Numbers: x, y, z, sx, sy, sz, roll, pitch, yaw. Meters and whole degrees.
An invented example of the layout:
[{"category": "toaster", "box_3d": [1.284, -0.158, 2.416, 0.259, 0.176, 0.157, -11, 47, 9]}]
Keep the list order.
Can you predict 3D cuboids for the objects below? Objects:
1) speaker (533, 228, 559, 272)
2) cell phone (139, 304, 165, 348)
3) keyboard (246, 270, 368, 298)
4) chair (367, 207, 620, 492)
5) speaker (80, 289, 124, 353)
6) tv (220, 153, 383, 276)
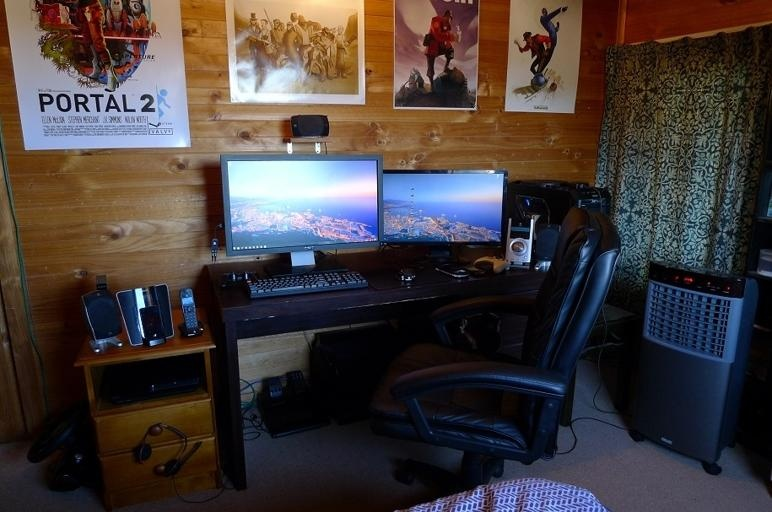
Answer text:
[{"category": "speaker", "box_3d": [0.970, -0.089, 3.251, 0.143, 0.224, 0.129, 5, 6, -6]}, {"category": "cell phone", "box_3d": [-1.195, 0.359, 2.707, 0.101, 0.201, 0.062, -11, 18, -24]}, {"category": "keyboard", "box_3d": [-0.425, 0.156, 2.900, 0.643, 0.082, 0.183, -6, 16, -12]}, {"category": "chair", "box_3d": [0.497, 0.556, 2.718, 1.077, 1.469, 0.986, 5, 17, 14]}, {"category": "speaker", "box_3d": [-1.465, 0.322, 2.736, 0.158, 0.290, 0.193, -12, 19, -27]}, {"category": "tv", "box_3d": [-0.493, -0.254, 3.129, 0.997, 0.660, 0.188, -6, 16, -32]}]
